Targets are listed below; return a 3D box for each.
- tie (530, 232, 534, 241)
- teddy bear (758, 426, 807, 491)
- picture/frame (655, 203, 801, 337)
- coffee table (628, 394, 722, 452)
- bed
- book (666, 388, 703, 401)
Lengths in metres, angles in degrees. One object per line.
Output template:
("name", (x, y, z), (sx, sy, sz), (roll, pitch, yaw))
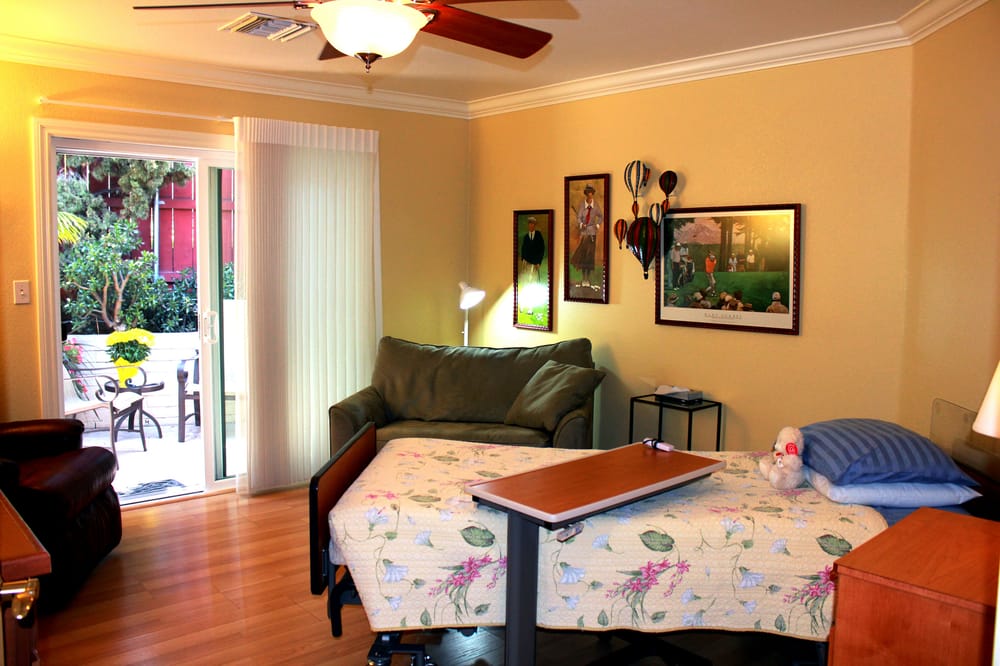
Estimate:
("tie", (0.268, -0.836, 6.059), (0.055, 0.059, 0.012), (8, 16, 30))
("teddy bear", (1.450, 0.623, 3.568), (0.194, 0.340, 0.353), (-2, 30, 30))
("picture/frame", (1.627, -0.454, 4.947), (1.053, 0.804, 0.040), (2, 2, 39))
("coffee table", (1.250, 0.559, 5.225), (0.447, 0.578, 0.600), (-7, 10, -40))
("bed", (0.408, 0.976, 3.424), (2.395, 0.662, 1.236), (3, 7, 6))
("book", (1.317, 0.435, 5.069), (0.141, 0.045, 0.135), (-3, 6, -37))
